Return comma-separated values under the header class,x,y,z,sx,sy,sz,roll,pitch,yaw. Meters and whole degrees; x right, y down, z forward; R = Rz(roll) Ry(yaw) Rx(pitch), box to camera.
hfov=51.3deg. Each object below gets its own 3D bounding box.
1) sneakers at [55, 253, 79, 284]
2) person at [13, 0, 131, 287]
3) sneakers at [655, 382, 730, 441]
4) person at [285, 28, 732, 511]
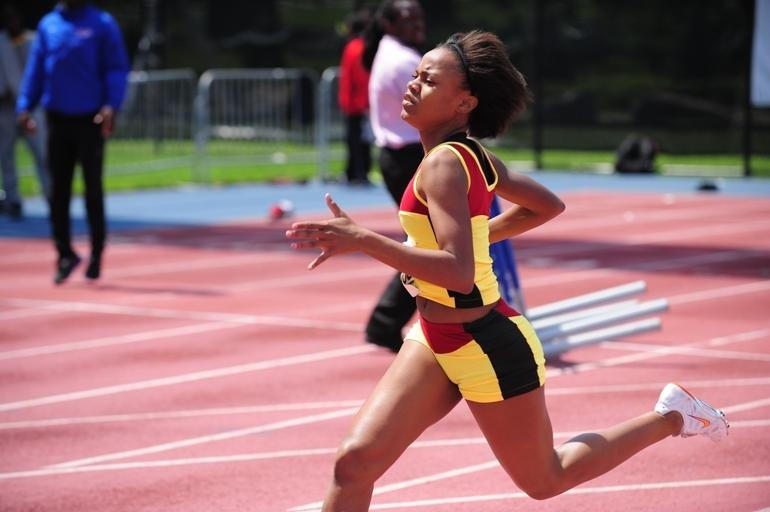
class,x,y,z,sx,sy,sz,roll,pitch,yaw
sneakers,-2.930,0.111,7.356,0.238,0.293,0.156,4,16,15
person,-2.841,-1.070,7.418,0.966,2.538,1.260,-7,17,-23
sneakers,1.551,0.779,3.969,0.542,0.183,0.245,23,11,-39
person,0.429,0.044,3.481,1.668,1.980,0.743,-7,17,-26
